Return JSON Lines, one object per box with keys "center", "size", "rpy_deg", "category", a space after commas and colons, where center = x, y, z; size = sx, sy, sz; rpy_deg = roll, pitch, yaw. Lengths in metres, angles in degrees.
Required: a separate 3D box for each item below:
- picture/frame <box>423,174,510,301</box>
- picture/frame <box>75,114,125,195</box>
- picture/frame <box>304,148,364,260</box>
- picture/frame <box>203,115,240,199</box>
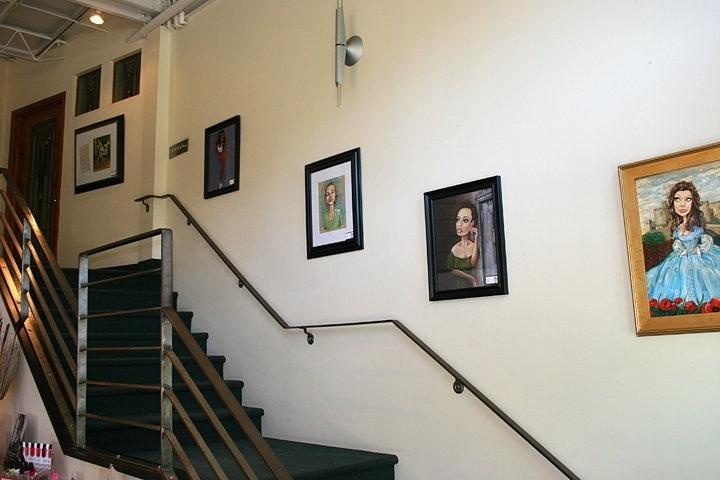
{"center": [0.765, -0.009, 3.650], "size": [0.771, 1.076, 0.073], "rpy_deg": [-7, -9, 42], "category": "picture/frame"}
{"center": [-3.231, -1.055, 6.541], "size": [0.958, 1.017, 0.075], "rpy_deg": [-4, -4, 35], "category": "picture/frame"}
{"center": [-0.199, -0.293, 4.364], "size": [0.824, 1.057, 0.086], "rpy_deg": [-7, -8, 44], "category": "picture/frame"}
{"center": [-1.394, -0.835, 5.323], "size": [0.051, 0.950, 0.804], "rpy_deg": [4, -6, -42], "category": "picture/frame"}
